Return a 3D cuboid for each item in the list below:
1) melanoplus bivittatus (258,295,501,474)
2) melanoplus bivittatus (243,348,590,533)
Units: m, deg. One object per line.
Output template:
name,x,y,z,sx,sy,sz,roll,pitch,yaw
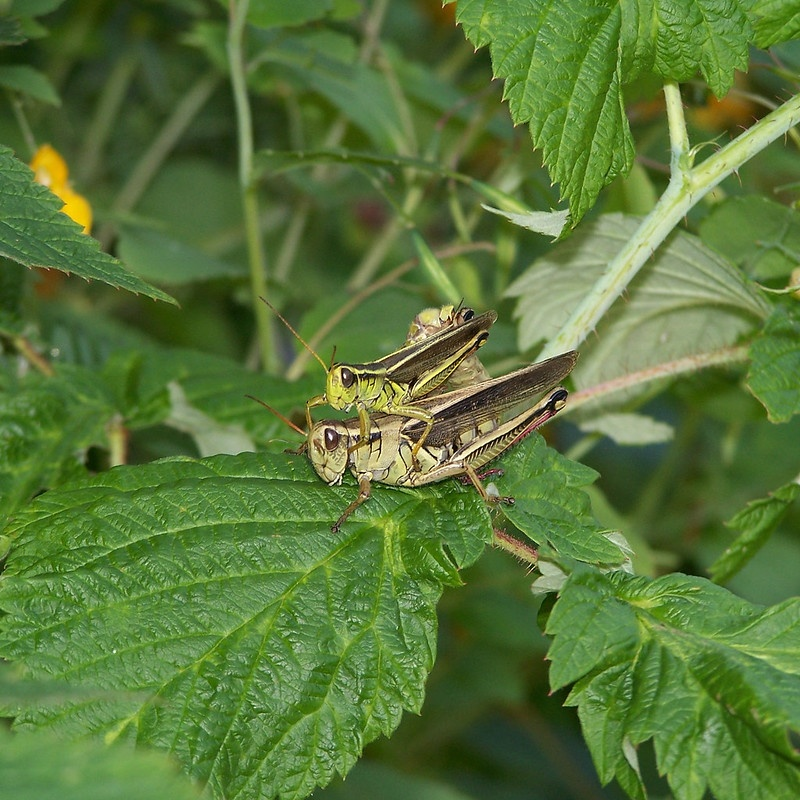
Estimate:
melanoplus bivittatus,0.018,-0.043,1.519,0.372,0.179,0.219,-6,-8,29
melanoplus bivittatus,0.046,0.052,1.509,0.536,0.171,0.237,-3,21,-15
